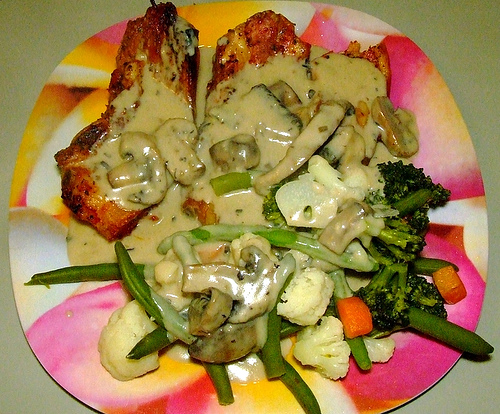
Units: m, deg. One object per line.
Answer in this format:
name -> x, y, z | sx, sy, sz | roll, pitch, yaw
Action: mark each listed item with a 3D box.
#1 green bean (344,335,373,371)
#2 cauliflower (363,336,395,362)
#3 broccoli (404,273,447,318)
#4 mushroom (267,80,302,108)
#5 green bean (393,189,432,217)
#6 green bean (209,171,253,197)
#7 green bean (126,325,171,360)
green bean -> 0.853, 1.125, 4.269 | 0.108, 0.119, 0.394 | -18, 72, -6
cauliflower -> 1.034, 1.122, 4.363 | 0.075, 0.315, 0.224 | 22, 78, -27
broccoli -> 1.363, 0.764, 4.419 | 0.362, 0.145, 0.289 | 43, 62, 5
mushroom -> 0.316, -0.954, 4.697 | 0.168, 0.060, 0.259 | -41, 103, -13
green bean -> 1.305, -0.038, 4.393 | 0.314, 0.075, 0.169 | -40, 83, 0
green bean -> -0.153, -0.197, 4.551 | 0.340, 0.074, 0.167 | -18, 79, -5
green bean -> -0.755, 1.029, 4.091 | 0.142, 0.085, 0.363 | 37, 50, 23
